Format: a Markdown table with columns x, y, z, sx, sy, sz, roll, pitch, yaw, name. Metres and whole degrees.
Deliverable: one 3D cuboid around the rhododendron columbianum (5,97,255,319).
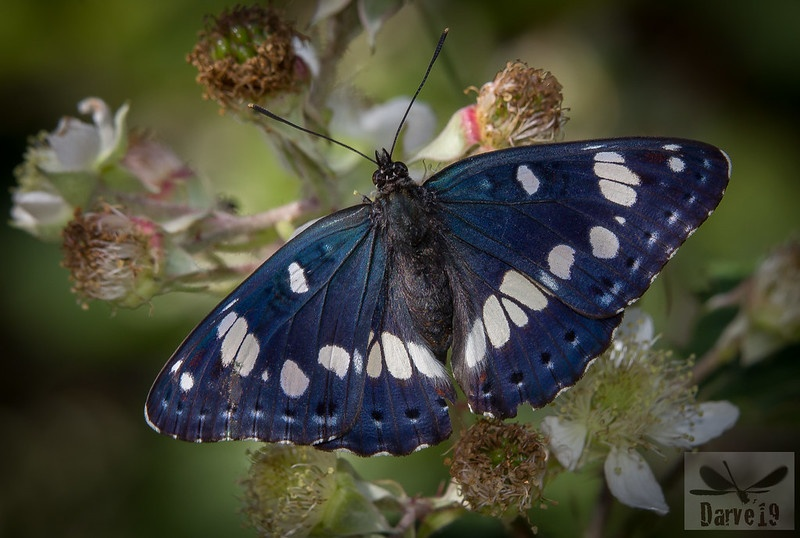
| x | y | z | sx | sy | sz | roll | pitch | yaw | name |
| --- | --- | --- | --- | --- | --- | --- | --- | --- | --- |
| -0.720 | -0.126 | 2.213 | 0.535 | 0.563 | 0.295 | -36 | 12 | -11 | rhododendron columbianum |
